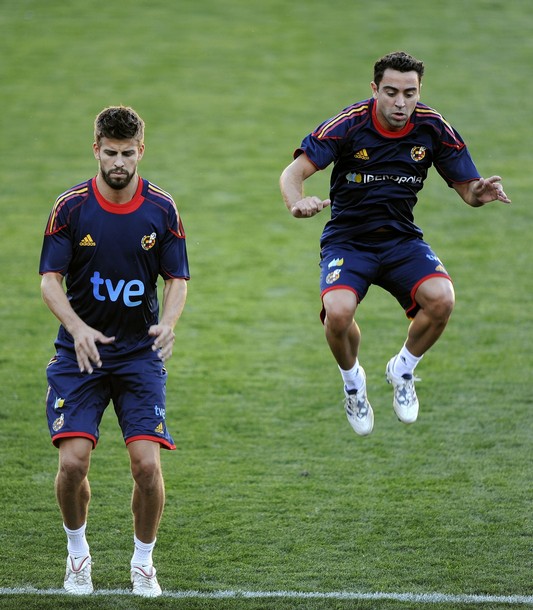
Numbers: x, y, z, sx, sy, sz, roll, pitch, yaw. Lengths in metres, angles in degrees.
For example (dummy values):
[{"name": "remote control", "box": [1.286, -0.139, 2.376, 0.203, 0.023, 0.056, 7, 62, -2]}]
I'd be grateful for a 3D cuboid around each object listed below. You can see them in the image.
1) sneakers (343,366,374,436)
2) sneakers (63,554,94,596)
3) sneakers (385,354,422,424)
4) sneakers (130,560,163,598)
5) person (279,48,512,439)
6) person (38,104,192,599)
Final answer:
[{"name": "sneakers", "box": [0.609, 0.619, 8.304, 0.186, 0.465, 0.201, -12, 10, 17]}, {"name": "sneakers", "box": [-1.024, 1.524, 7.262, 0.115, 0.260, 0.113, -1, -22, -12]}, {"name": "sneakers", "box": [0.965, 0.570, 8.418, 0.197, 0.454, 0.227, -13, 5, -12]}, {"name": "sneakers", "box": [-0.657, 1.542, 7.280, 0.129, 0.208, 0.098, -10, 2, -6]}, {"name": "person", "box": [0.693, -0.302, 7.891, 1.285, 2.420, 0.742, -5, 10, -26]}, {"name": "person", "box": [-0.811, 0.278, 7.135, 0.804, 2.702, 0.503, -1, 9, -4]}]
